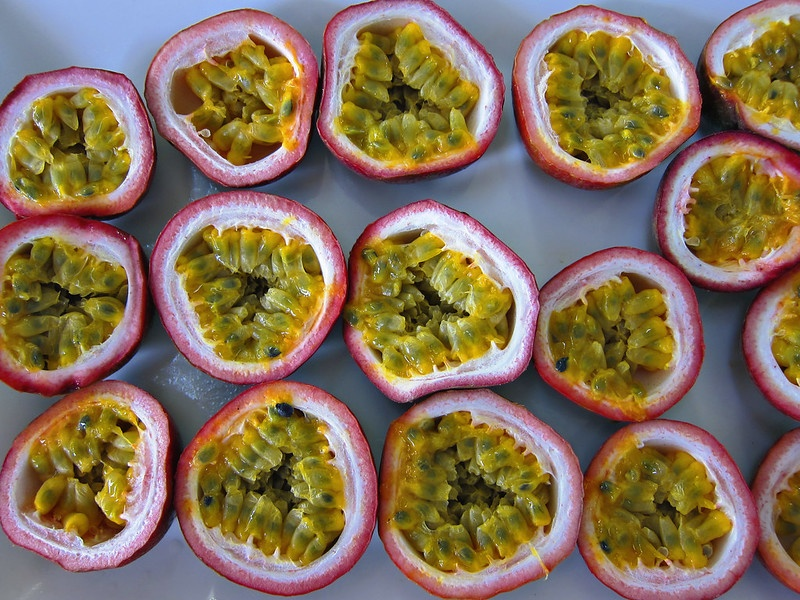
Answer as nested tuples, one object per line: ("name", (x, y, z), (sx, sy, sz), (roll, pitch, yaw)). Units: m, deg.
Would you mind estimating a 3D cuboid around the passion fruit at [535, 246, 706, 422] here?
("passion fruit", (0.723, 0.104, 2.995), (0.555, 0.173, 0.540), (10, -77, 1))
